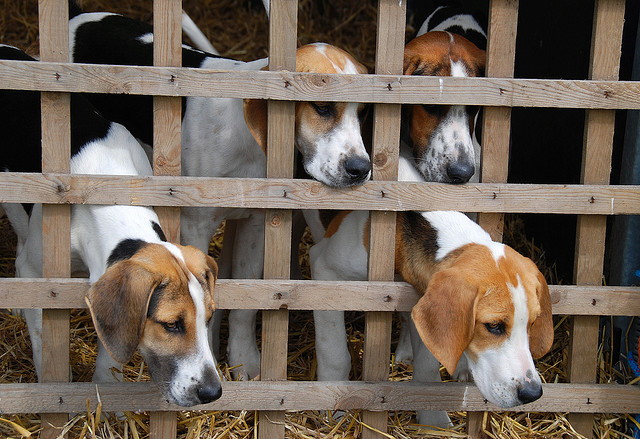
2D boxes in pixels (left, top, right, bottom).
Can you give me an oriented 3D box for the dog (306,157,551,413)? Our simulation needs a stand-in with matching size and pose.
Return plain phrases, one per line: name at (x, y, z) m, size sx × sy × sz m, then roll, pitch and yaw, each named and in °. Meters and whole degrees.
dog at (0.642, 0.185, 5.746) m, size 1.322 × 2.410 × 1.167 m, roll -1°, pitch -77°, yaw 1°
